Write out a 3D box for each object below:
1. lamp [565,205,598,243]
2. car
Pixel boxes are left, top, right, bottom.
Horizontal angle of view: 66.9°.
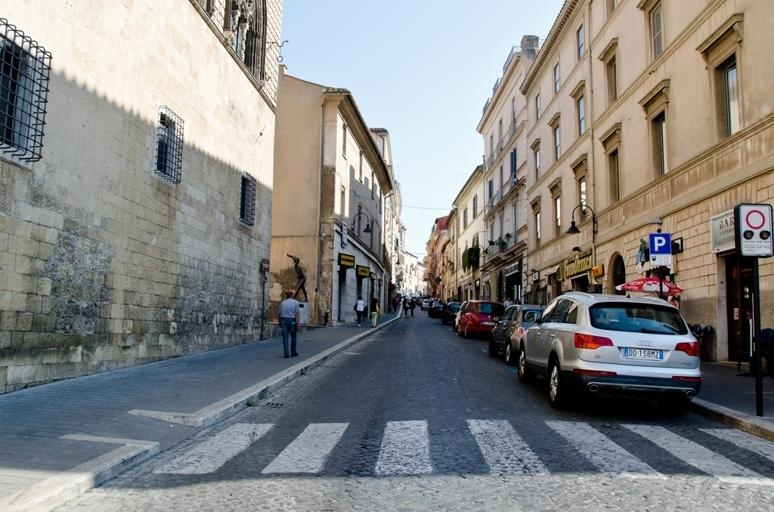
[{"bbox_3d":[8.738,-1.504,26.235,1.193,1.858,0.615,6,36,29],"label":"lamp"},{"bbox_3d":[4.144,1.788,11.153,3.200,2.176,2.089,-1,-4,36],"label":"car"}]
